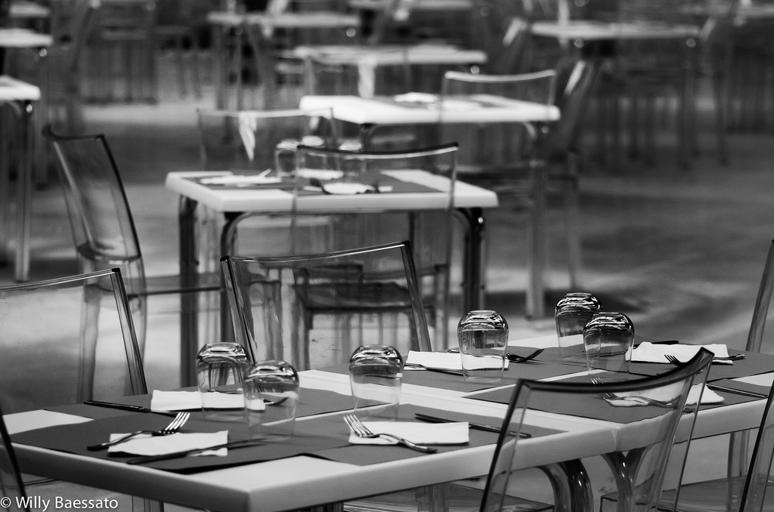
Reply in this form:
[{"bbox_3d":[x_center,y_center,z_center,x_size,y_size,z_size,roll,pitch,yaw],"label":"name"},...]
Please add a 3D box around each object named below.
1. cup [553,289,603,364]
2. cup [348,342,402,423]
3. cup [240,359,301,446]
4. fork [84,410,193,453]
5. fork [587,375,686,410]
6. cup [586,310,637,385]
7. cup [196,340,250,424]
[{"bbox_3d":[0.628,0.232,3.640,0.155,0.237,0.146,-3,16,1],"label":"cup"},{"bbox_3d":[-0.030,0.363,3.203,0.147,0.197,0.162,-2,12,0],"label":"cup"},{"bbox_3d":[-0.325,0.419,3.114,0.165,0.206,0.158,-3,-14,-1],"label":"cup"},{"bbox_3d":[-0.674,0.499,3.077,0.047,0.049,0.339,-22,-6,43],"label":"fork"},{"bbox_3d":[0.661,0.370,2.903,0.276,0.087,0.084,-6,13,-20],"label":"fork"},{"bbox_3d":[0.682,0.283,3.437,0.148,0.205,0.179,0,12,10],"label":"cup"},{"bbox_3d":[-0.459,0.370,3.161,0.148,0.198,0.203,-4,12,-10],"label":"cup"}]
